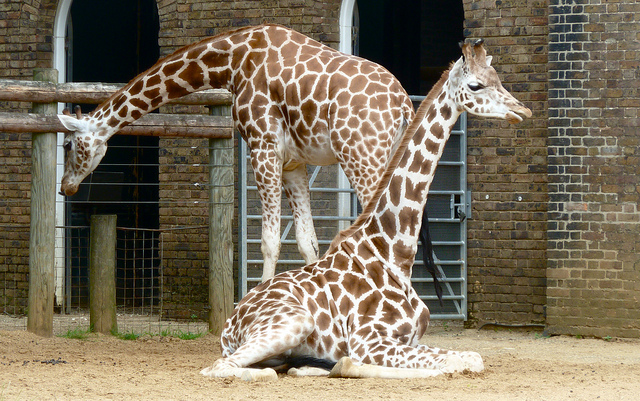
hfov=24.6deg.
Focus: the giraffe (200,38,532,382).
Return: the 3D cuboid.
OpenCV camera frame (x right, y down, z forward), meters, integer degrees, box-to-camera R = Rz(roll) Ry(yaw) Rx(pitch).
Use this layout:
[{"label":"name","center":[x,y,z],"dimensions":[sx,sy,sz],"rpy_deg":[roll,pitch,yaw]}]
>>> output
[{"label":"giraffe","center":[0.573,0.157,18.132],"dimensions":[4.172,4.282,2.062],"rpy_deg":[-2,-8,5]}]
